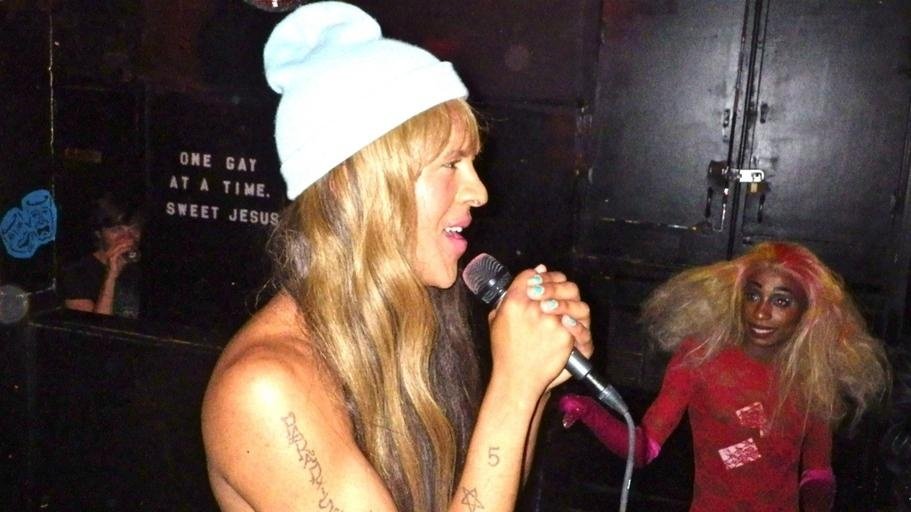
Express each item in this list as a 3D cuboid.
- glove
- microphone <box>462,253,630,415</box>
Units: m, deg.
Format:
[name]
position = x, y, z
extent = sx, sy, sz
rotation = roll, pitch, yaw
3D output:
[glove]
position = 1.016, 1.149, 4.788
extent = 0.596, 0.203, 0.476
rotation = 31, 3, 0
[microphone]
position = 0.527, 0.481, 4.280
extent = 0.306, 1.364, 0.284
rotation = -38, -9, -9
